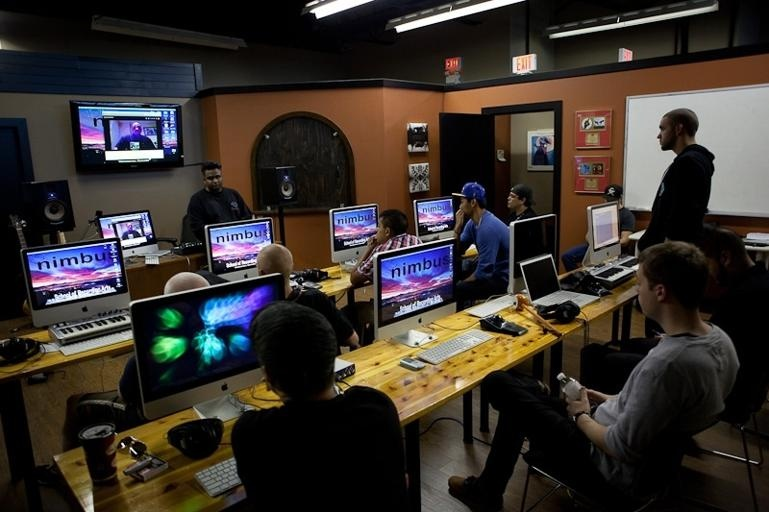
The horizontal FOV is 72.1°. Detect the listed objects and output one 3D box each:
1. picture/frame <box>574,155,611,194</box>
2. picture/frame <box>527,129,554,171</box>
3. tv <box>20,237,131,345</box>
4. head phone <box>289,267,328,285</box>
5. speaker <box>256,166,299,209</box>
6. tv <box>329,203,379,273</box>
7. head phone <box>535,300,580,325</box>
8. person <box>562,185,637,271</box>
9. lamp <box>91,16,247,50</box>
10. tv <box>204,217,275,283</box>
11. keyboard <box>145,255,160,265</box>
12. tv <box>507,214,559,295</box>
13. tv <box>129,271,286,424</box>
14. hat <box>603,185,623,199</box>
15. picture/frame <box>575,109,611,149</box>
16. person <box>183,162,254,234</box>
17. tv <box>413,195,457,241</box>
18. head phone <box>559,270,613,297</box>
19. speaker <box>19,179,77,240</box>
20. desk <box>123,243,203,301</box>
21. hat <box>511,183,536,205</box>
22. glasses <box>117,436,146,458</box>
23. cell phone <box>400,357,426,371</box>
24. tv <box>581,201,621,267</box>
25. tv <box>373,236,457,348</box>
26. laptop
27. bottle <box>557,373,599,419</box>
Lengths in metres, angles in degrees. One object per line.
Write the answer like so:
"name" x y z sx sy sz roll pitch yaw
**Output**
"picture/frame" 2.981 -1.175 7.561 0.578 0.660 0.047 6 9 44
"picture/frame" 2.944 -1.989 9.876 0.047 0.741 0.744 -10 14 -33
"tv" -2.459 0.286 4.455 0.567 0.756 0.815 15 16 30
"head phone" -0.822 0.224 5.674 0.246 0.105 0.191 -2 5 -32
"speaker" -1.356 -0.911 6.785 0.376 0.462 0.393 4 14 23
"tv" -0.334 -0.189 5.814 0.654 0.655 0.334 -12 17 -40
"head phone" 1.440 0.465 4.422 0.256 0.112 0.194 4 10 34
"person" 2.700 -0.376 6.594 1.137 1.048 0.515 -7 11 -41
"lamp" -3.435 -3.744 8.827 0.383 0.264 3.014 46 32 14
"tv" -1.378 -0.045 5.019 0.567 0.522 0.178 -8 10 -39
"keyboard" -2.591 0.046 5.907 0.105 0.046 0.193 1 13 -18
"tv" 1.374 -0.086 4.986 0.568 0.541 0.289 -13 14 -30
"tv" -1.178 0.609 3.479 0.917 0.815 0.363 -7 8 -43
"hat" 3.052 -0.852 7.061 0.176 0.137 0.239 6 11 34
"picture/frame" 2.961 -1.810 7.489 0.563 0.641 0.065 5 9 43
"person" -2.057 -0.652 6.695 0.818 1.050 0.607 -9 -6 -30
"tv" 0.638 -0.476 7.087 0.620 0.571 0.311 -10 14 -27
"head phone" 1.889 0.270 5.053 0.249 0.109 0.329 -14 20 -27
"speaker" -3.997 -0.602 6.308 0.452 0.552 0.480 3 11 25
"desk" -2.428 -0.015 5.810 0.470 0.599 0.871 12 18 42
"hat" 1.727 -0.743 6.544 0.303 0.175 0.213 29 11 -16
"glasses" -1.518 1.135 3.186 0.102 0.080 0.155 1 13 -42
"cell phone" 0.196 0.780 3.827 0.087 0.034 0.115 -14 20 -42
"tv" 2.366 -0.226 5.759 0.816 0.815 0.278 -12 11 -42
"tv" 0.242 0.313 4.100 0.792 0.660 0.253 -9 11 -38
"laptop" 1.520 0.257 4.659 0.548 0.401 0.555 -17 16 -35
"bottle" 1.276 0.894 3.583 0.080 0.134 0.212 0 6 -21
